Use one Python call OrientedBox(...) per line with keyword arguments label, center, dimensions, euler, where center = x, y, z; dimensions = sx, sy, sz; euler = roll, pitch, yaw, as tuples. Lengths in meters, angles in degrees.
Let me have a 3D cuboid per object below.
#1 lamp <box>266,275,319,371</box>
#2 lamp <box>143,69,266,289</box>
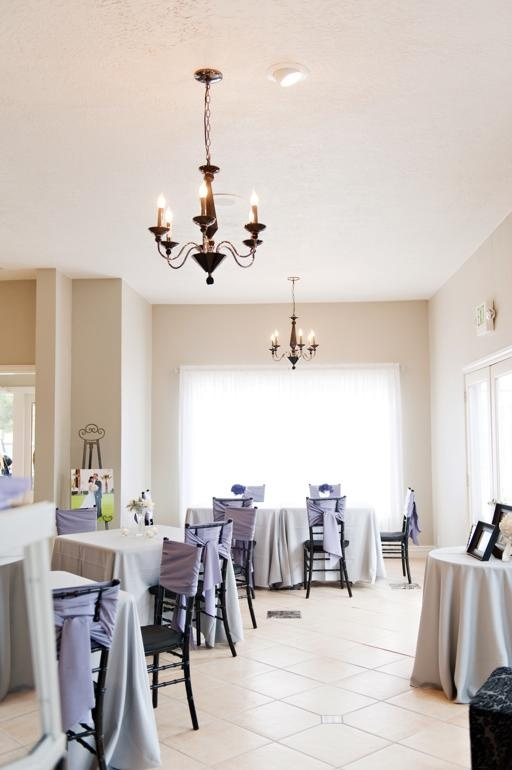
OrientedBox(label="lamp", center=(0.494, -0.841, 7.747), dimensions=(0.657, 1.217, 0.628), euler=(-1, 1, -29))
OrientedBox(label="lamp", center=(-0.267, -1.107, 3.104), dimensions=(0.599, 1.082, 0.629), euler=(-5, 8, -42))
